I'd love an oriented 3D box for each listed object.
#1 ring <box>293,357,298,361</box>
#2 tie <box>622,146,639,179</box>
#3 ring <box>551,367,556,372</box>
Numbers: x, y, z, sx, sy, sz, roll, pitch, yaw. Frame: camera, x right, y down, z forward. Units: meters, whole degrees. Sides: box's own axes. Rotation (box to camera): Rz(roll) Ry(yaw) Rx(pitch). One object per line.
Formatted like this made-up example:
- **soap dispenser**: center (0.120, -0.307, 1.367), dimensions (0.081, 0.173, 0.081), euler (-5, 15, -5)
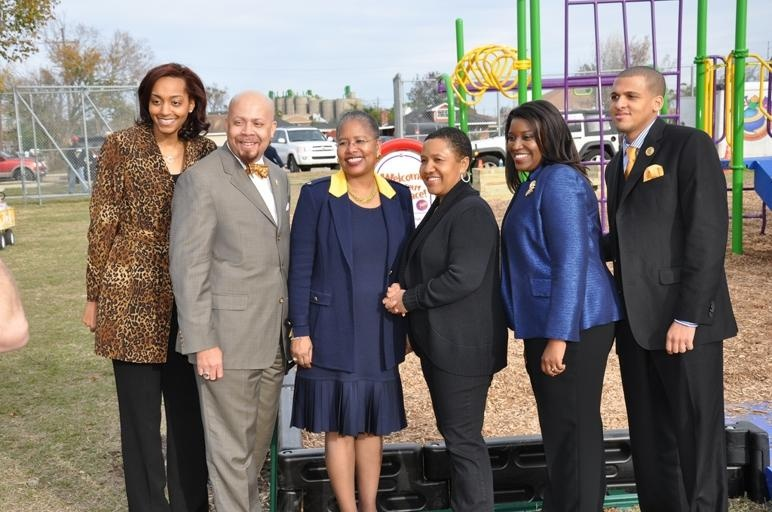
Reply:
- **ring**: center (-0.645, 0.735, 5.712), dimensions (0.030, 0.029, 0.052), euler (0, -13, -13)
- **tie**: center (1.621, -0.626, 5.415), dimensions (0.104, 0.179, 0.041), euler (1, -7, 45)
- **ring**: center (1.075, 0.736, 5.245), dimensions (0.028, 0.029, 0.010), euler (0, 10, 12)
